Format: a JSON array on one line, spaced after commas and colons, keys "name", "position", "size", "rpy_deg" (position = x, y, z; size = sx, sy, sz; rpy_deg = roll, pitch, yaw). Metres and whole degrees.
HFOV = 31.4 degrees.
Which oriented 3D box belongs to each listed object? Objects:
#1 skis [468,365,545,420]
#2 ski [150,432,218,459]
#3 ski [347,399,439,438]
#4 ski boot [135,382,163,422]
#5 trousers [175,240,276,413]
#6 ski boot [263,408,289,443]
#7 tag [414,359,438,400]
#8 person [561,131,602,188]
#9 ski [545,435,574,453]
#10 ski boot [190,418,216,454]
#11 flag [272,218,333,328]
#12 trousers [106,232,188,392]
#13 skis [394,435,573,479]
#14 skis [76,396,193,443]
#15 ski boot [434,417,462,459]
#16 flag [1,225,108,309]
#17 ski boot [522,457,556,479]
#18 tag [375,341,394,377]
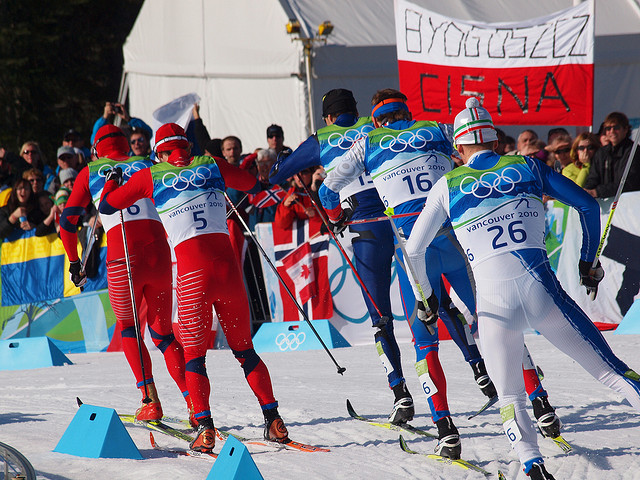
[{"name": "skis", "position": [1.905, 1.558, 11.621], "size": [0.984, 0.150, 0.148], "rpy_deg": [-37, 10, 6]}, {"name": "ski", "position": [-1.410, 2.139, 11.817], "size": [0.859, 0.161, 0.133], "rpy_deg": [6, 31, 33]}, {"name": "ski", "position": [0.772, 1.932, 12.225], "size": [1.353, 0.249, 0.206], "rpy_deg": [11, 12, 29]}, {"name": "ski boot", "position": [-1.943, 1.784, 12.598], "size": [0.219, 0.490, 0.462], "rpy_deg": [-3, -7, -41]}, {"name": "trousers", "position": [-1.011, 0.953, 11.991], "size": [0.873, 2.057, 0.502], "rpy_deg": [-6, -3, -19]}, {"name": "ski boot", "position": [-0.446, 1.916, 12.003], "size": [0.174, 0.425, 0.435], "rpy_deg": [-7, 7, -9]}, {"name": "tag", "position": [1.078, 1.423, 11.696], "size": [0.099, 0.399, 0.257], "rpy_deg": [-4, -1, -25]}, {"name": "person", "position": [3.673, -0.971, 15.934], "size": [0.632, 1.039, 0.354], "rpy_deg": [-2, -16, 23]}, {"name": "ski", "position": [2.460, 2.087, 11.672], "size": [0.071, 0.052, 0.276], "rpy_deg": [-16, 32, -12]}, {"name": "ski boot", "position": [-1.255, 2.039, 11.862], "size": [0.179, 0.401, 0.472], "rpy_deg": [7, -12, -32]}, {"name": "flag", "position": [-0.258, 0.413, 15.985], "size": [0.800, 1.466, 0.256], "rpy_deg": [-4, -1, 3]}, {"name": "trousers", "position": [-1.955, 0.698, 12.569], "size": [0.691, 2.006, 0.655], "rpy_deg": [-4, 12, -15]}, {"name": "skis", "position": [1.641, 2.182, 11.345], "size": [1.582, 0.191, 0.228], "rpy_deg": [8, 37, -17]}, {"name": "skis", "position": [-1.990, 1.938, 12.191], "size": [1.344, 0.156, 0.140], "rpy_deg": [18, 45, 37]}, {"name": "ski boot", "position": [1.215, 2.018, 11.724], "size": [0.203, 0.427, 0.587], "rpy_deg": [-1, -4, -18]}, {"name": "flag", "position": [-4.129, 0.468, 16.820], "size": [1.947, 1.366, 0.717], "rpy_deg": [-13, 20, -19]}, {"name": "ski boot", "position": [2.043, 2.158, 10.764], "size": [0.121, 0.149, 0.335], "rpy_deg": [-34, 51, -23]}, {"name": "tag", "position": [0.683, 1.288, 12.363], "size": [0.114, 0.321, 0.229], "rpy_deg": [-32, 5, -5]}]
